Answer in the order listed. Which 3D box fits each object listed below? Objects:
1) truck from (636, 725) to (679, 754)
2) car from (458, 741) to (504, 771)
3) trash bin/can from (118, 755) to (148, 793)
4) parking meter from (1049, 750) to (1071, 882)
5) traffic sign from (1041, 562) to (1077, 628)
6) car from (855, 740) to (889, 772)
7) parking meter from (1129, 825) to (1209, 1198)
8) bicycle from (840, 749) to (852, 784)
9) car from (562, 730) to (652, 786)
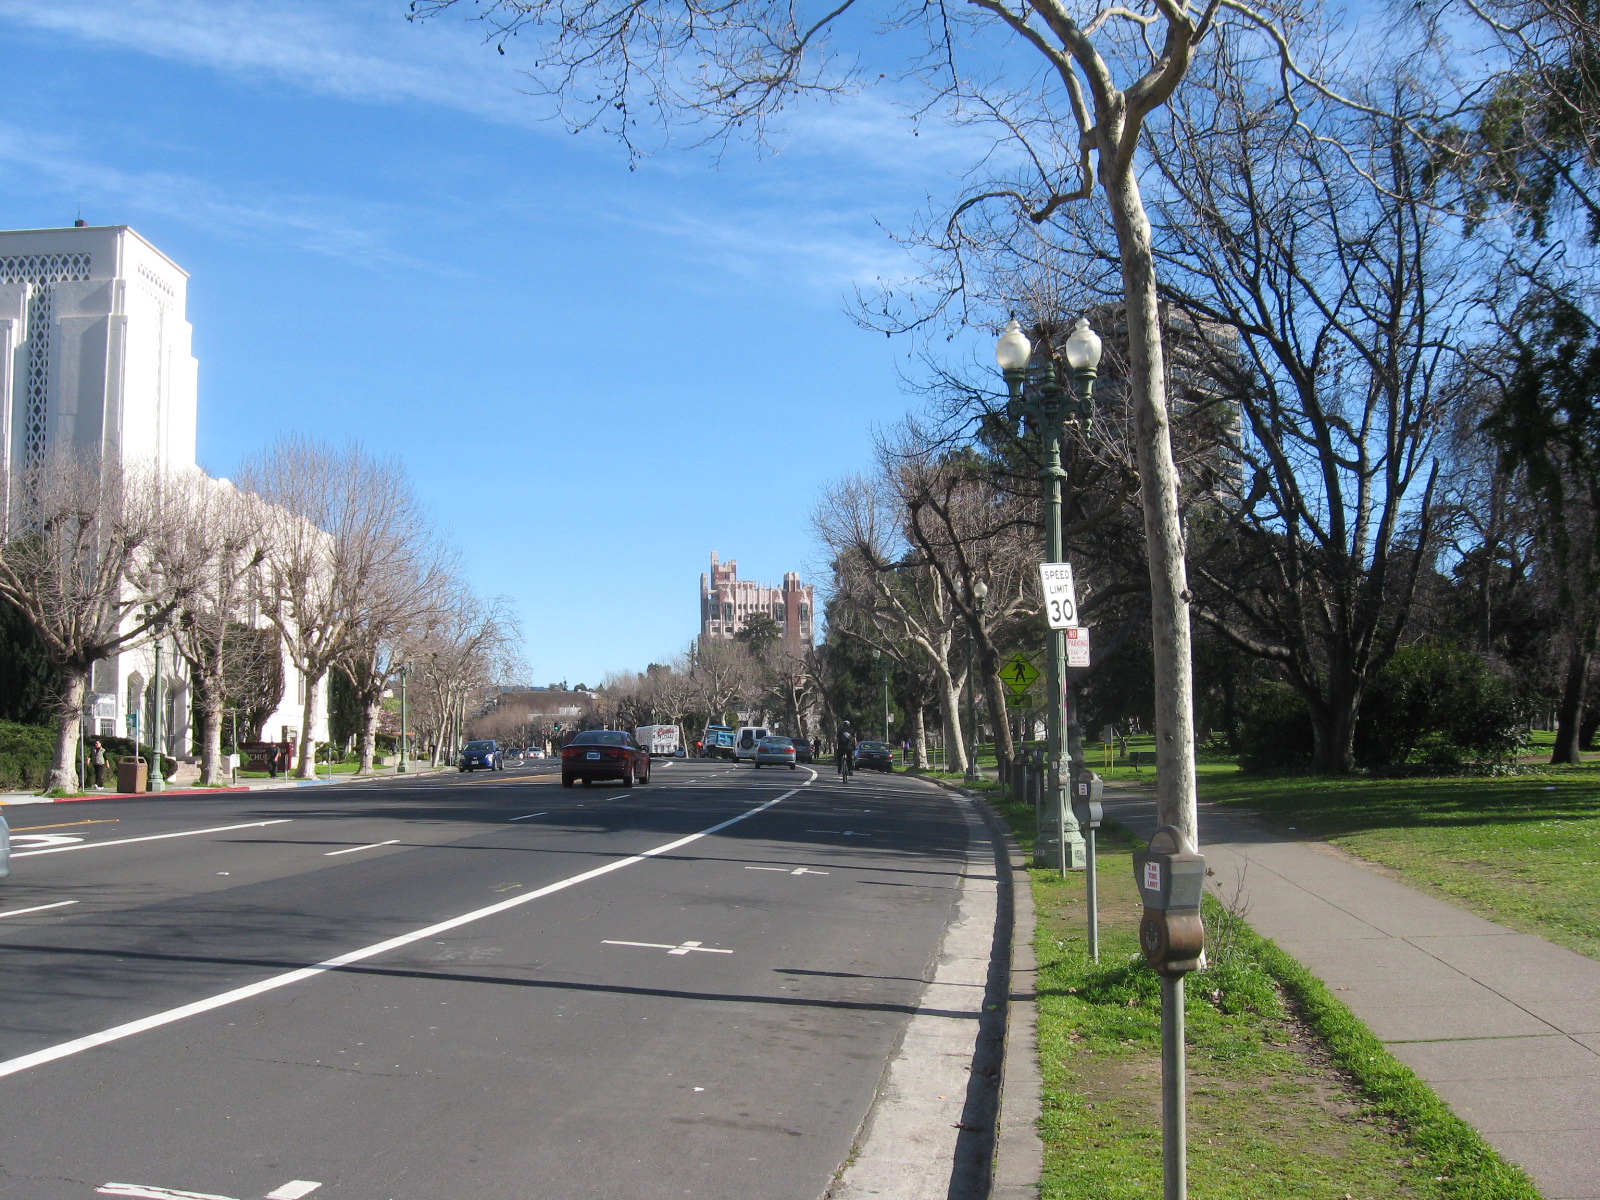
[{"bbox_3d":[-11.245,10.673,117.898,2.484,2.823,4.669,-1,-9,3],"label":"truck"},{"bbox_3d":[-15.256,7.547,72.728,1.082,0.963,2.673,-1,-12,-1],"label":"car"},{"bbox_3d":[-18.679,4.940,42.420,0.616,1.315,0.634,-12,-14,36],"label":"trash bin/can"},{"bbox_3d":[3.434,2.807,20.088,0.225,1.604,0.983,-2,-7,9],"label":"parking meter"},{"bbox_3d":[3.095,-0.111,18.206,0.365,0.839,0.922,-2,-8,7],"label":"traffic sign"},{"bbox_3d":[3.228,7.093,68.728,1.423,1.327,2.513,0,-9,-10],"label":"car"},{"bbox_3d":[2.059,2.234,8.295,0.344,1.955,0.375,-2,-6,8],"label":"parking meter"},{"bbox_3d":[1.666,6.225,56.625,0.785,1.183,1.705,0,-5,-1],"label":"bicycle"},{"bbox_3d":[-5.425,4.435,42.155,2.304,1.709,3.155,0,-9,-11],"label":"car"}]
